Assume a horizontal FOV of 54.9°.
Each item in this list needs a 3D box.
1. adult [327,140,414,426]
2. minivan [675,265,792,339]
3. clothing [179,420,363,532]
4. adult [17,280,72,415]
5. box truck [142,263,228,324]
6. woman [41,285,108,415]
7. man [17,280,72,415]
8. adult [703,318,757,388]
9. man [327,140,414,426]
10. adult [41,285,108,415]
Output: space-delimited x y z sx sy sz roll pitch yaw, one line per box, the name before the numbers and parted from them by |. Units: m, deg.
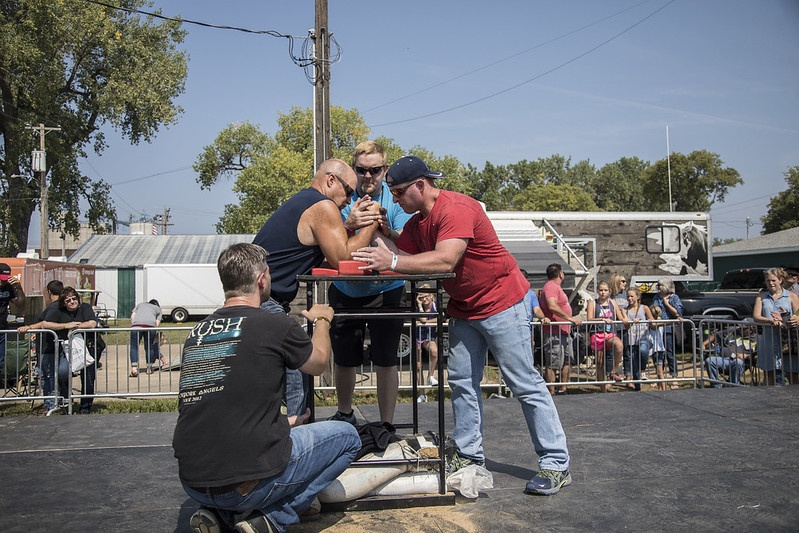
adult | -0.387 0.335 9.664 1.140 3.643 1.192 0 11 -6
minivan | 8.314 1.126 19.470 3.539 1.629 2.017 -4 1 -9
clothing | -1.157 2.328 8.426 1.293 0.469 1.337 2 12 41
adult | -6.071 1.391 13.364 0.401 2.278 1.637 2 -7 -25
box truck | -8.888 1.358 32.657 3.809 2.482 2.236 -3 -10 -24
woman | -5.772 1.570 13.592 1.149 1.243 2.228 -15 39 -22
man | -5.978 1.390 13.380 0.592 2.104 0.698 2 3 36
adult | 5.921 1.563 13.795 0.816 1.372 0.821 30 -26 -28
man | -0.413 0.343 9.694 1.123 3.593 1.105 -1 9 -10
adult | -5.772 1.570 13.592 1.149 1.243 2.228 -15 39 -22
